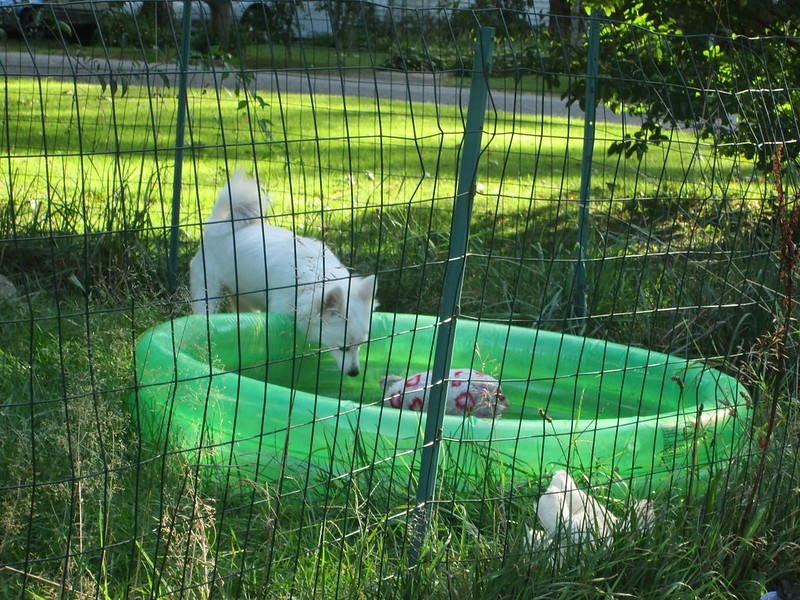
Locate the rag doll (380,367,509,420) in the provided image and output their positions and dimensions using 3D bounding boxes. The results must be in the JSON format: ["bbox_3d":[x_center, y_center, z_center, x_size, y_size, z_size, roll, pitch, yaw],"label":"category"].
[{"bbox_3d":[0.205,0.471,5.021,0.603,0.427,0.339,-3,18,12],"label":"rag doll"}]
